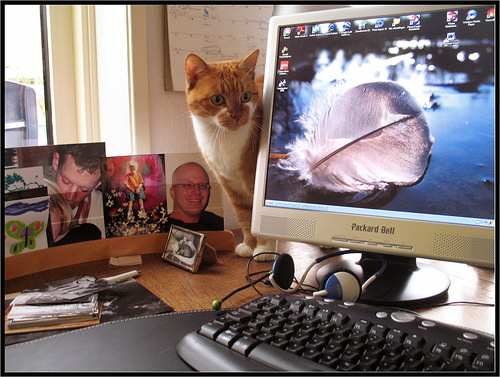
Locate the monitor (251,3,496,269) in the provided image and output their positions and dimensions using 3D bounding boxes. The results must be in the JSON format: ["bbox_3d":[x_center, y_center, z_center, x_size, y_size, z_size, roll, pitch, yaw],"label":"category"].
[{"bbox_3d":[0.254,-0.109,0.711,0.550,0.483,0.039,7,-3,27],"label":"monitor"}]

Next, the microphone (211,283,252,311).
[{"bbox_3d":[-0.036,0.201,0.681,0.098,0.019,0.018,-17,-9,-35],"label":"microphone"}]

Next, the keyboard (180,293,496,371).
[{"bbox_3d":[0.121,0.210,0.505,0.425,0.039,0.163,0,10,14],"label":"keyboard"}]

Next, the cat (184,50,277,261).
[{"bbox_3d":[-0.045,-0.080,1.095,0.424,0.525,0.275,-3,7,-30],"label":"cat"}]
